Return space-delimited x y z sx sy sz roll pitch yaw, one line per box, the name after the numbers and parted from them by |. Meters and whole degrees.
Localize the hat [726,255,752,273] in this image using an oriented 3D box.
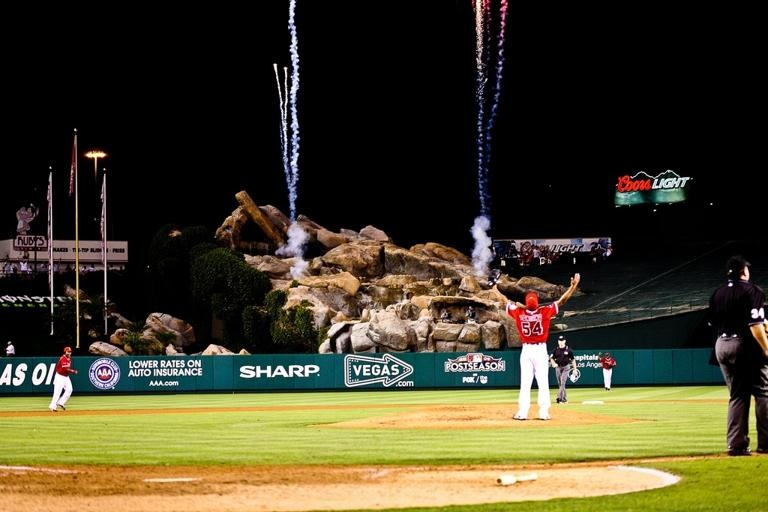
18.979 0.459 62.064 0.801 0.664 1.140 2 26 43 | hat
